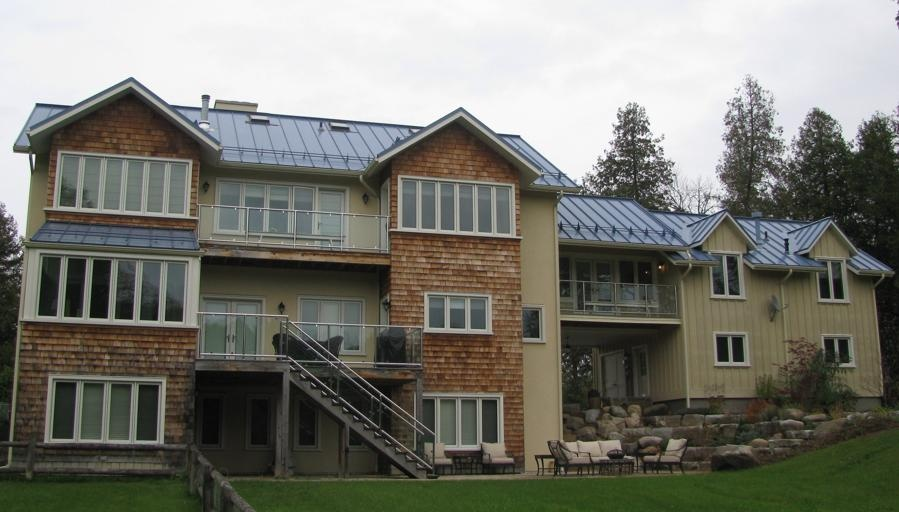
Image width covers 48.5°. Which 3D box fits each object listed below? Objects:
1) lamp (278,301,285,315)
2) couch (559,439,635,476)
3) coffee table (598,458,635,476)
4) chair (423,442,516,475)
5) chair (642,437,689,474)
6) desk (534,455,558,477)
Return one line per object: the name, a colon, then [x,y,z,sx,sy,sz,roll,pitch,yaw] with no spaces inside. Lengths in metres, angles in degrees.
lamp: [-7.628,2.339,45.036,0.352,0.520,0.111,0,-12,-10]
couch: [6.409,8.966,44.202,3.598,1.480,2.560,2,-10,-9]
coffee table: [7.309,9.204,43.516,1.418,0.734,1.854,-9,-13,30]
chair: [1.066,8.969,44.030,3.665,1.413,0.868,1,-12,-13]
chair: [9.495,8.862,44.115,1.676,1.430,1.309,2,-8,-16]
desk: [4.234,9.489,45.260,1.416,0.995,0.875,6,-17,-28]
